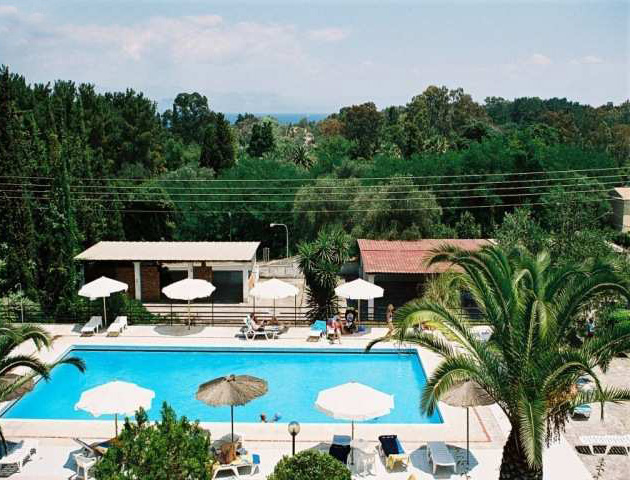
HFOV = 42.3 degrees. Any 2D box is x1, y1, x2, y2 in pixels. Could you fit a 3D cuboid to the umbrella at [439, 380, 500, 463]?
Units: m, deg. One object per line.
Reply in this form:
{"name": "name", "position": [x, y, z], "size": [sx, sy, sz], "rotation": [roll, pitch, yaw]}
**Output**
{"name": "umbrella", "position": [5.666, 6.536, 30.007], "size": [1.659, 2.166, 2.483], "rotation": [-7, 3, 9]}

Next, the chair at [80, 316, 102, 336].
{"name": "chair", "position": [-11.328, 4.338, 41.353], "size": [0.494, 0.674, 1.453], "rotation": [-1, 5, -3]}

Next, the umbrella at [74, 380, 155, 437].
{"name": "umbrella", "position": [-7.221, 6.276, 30.217], "size": [2.038, 1.901, 2.204], "rotation": [0, 0, -3]}

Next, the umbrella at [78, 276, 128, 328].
{"name": "umbrella", "position": [-10.901, 3.364, 41.735], "size": [2.472, 3.072, 2.281], "rotation": [0, -1, 44]}

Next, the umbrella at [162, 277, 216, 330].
{"name": "umbrella", "position": [-6.690, 2.477, 42.136], "size": [2.323, 2.499, 2.345], "rotation": [-8, 11, -41]}

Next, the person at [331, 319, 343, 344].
{"name": "person", "position": [1.039, 4.495, 40.754], "size": [0.617, 1.399, 0.905], "rotation": [-1, -7, 1]}

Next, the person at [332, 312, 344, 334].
{"name": "person", "position": [1.160, 4.225, 41.400], "size": [0.534, 1.710, 0.653], "rotation": [1, 25, 9]}

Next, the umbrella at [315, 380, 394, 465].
{"name": "umbrella", "position": [1.509, 6.903, 30.384], "size": [2.339, 2.767, 2.745], "rotation": [-2, 8, -1]}
